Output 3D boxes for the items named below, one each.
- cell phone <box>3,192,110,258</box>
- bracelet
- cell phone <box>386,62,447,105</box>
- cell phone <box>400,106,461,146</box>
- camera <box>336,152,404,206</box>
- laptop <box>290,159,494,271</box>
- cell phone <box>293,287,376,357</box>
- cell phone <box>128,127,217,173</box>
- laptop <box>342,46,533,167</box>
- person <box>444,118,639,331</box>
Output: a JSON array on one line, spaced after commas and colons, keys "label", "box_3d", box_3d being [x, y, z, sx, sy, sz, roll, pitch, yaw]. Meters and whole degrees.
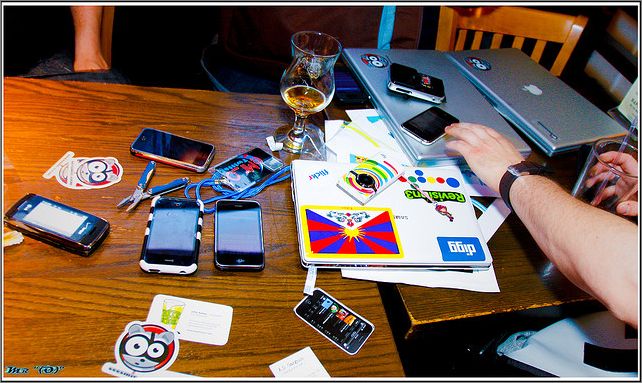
[{"label": "cell phone", "box_3d": [-0.737, 0.093, 1.145, 0.263, 0.092, 0.106, 15, 43, 10]}, {"label": "bracelet", "box_3d": [0.660, -0.018, 1.388, 0.148, 0.156, 0.187, 21, 35, 34]}, {"label": "cell phone", "box_3d": [0.364, -0.407, 1.598, 0.229, 0.052, 0.144, 11, 48, -12]}, {"label": "cell phone", "box_3d": [0.390, -0.233, 1.478, 0.188, 0.018, 0.106, -34, 67, -32]}, {"label": "camera", "box_3d": [0.154, -0.037, 1.319, 0.215, 0.047, 0.126, -31, 63, -29]}, {"label": "laptop", "box_3d": [0.192, 0.088, 1.245, 0.547, 0.048, 0.331, 1, 50, -8]}, {"label": "cell phone", "box_3d": [0.034, 0.356, 1.120, 0.204, 0.070, 0.100, 25, 45, 20]}, {"label": "cell phone", "box_3d": [-0.478, -0.135, 1.333, 0.268, 0.031, 0.126, 14, 45, 1]}, {"label": "laptop", "box_3d": [0.415, -0.391, 1.569, 0.505, 0.064, 0.637, -9, 45, -24]}, {"label": "person", "box_3d": [0.716, 0.066, 1.314, 0.209, 0.247, 0.793, -20, 47, -27]}]
